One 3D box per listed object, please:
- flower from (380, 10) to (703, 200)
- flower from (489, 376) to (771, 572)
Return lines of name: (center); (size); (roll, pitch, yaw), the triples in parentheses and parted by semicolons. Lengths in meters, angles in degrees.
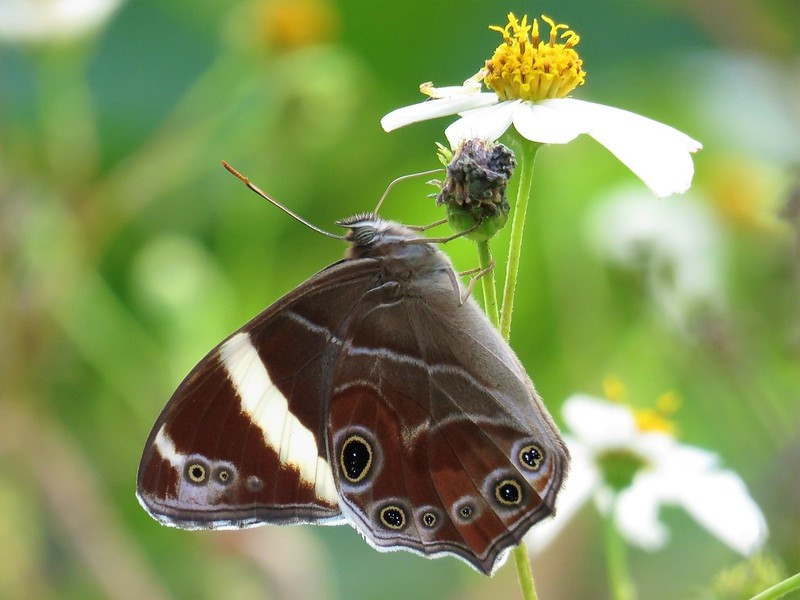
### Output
flower: (0.324, -0.300, 1.845); (0.472, 0.268, 0.507); (7, -1, -11)
flower: (0.595, 0.484, 2.128); (0.431, 0.131, 0.435); (39, 44, 13)
